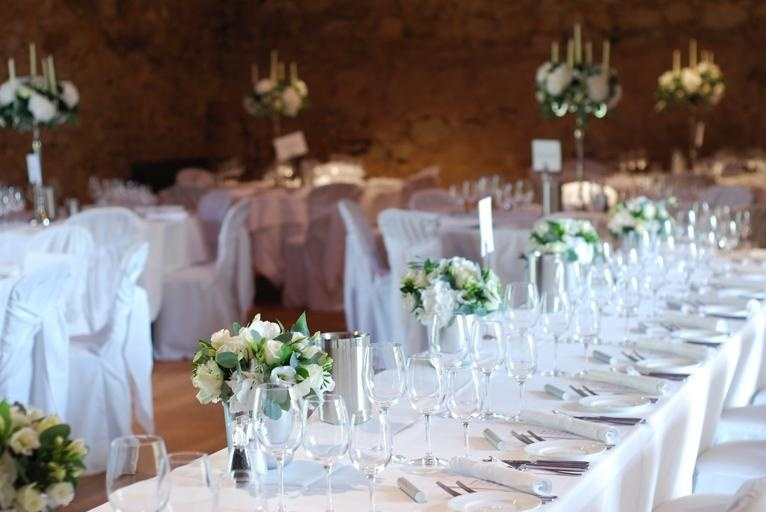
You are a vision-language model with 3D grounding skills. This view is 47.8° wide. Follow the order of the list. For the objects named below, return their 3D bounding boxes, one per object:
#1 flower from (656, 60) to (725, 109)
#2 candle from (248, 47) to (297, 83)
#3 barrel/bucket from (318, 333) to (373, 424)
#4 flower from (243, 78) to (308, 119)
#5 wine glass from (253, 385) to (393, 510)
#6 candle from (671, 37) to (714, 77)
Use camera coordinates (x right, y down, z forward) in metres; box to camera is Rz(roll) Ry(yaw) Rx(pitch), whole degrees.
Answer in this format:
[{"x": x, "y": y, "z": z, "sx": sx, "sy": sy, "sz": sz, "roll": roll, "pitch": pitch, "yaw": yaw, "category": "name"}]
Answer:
[{"x": 3.168, "y": -1.745, "z": 8.720, "sx": 0.458, "sy": 0.325, "sz": 0.780, "roll": 3, "pitch": 22, "yaw": 12, "category": "flower"}, {"x": -1.193, "y": -2.076, "z": 9.411, "sx": 0.526, "sy": 0.355, "sz": 0.110, "roll": 1, "pitch": 14, "yaw": 14, "category": "candle"}, {"x": -0.127, "y": 0.426, "z": 3.202, "sx": 0.169, "sy": 0.314, "sz": 0.181, "roll": -2, "pitch": 10, "yaw": 0, "category": "barrel/bucket"}, {"x": -1.137, "y": -1.649, "z": 9.163, "sx": 0.529, "sy": 0.411, "sz": 0.156, "roll": -2, "pitch": -18, "yaw": -2, "category": "flower"}, {"x": -0.201, "y": 0.620, "z": 2.780, "sx": 0.343, "sy": 0.338, "sz": 0.120, "roll": 3, "pitch": -14, "yaw": -19, "category": "wine glass"}, {"x": 3.014, "y": -1.967, "z": 8.441, "sx": 0.383, "sy": 0.302, "sz": 0.108, "roll": 3, "pitch": 14, "yaw": 24, "category": "candle"}]
